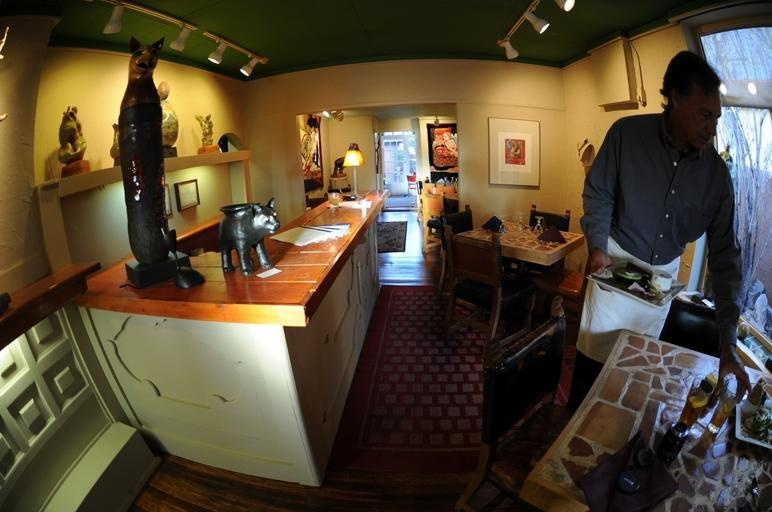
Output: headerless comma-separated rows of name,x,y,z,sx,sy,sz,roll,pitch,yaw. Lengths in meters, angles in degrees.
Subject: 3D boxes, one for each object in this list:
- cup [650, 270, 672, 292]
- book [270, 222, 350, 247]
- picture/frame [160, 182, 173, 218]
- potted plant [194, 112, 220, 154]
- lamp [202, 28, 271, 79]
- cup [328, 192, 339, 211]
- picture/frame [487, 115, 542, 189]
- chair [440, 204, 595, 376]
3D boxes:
cup,1.654,0.153,2.913,0.173,0.103,0.089,-6,14,-13
book,-0.561,-0.173,3.797,0.512,0.053,0.606,7,17,31
picture/frame,-2.261,-0.572,5.042,0.051,0.348,0.220,-6,14,-15
potted plant,-2.033,-1.378,5.517,0.218,0.421,0.593,-7,15,-19
lamp,-1.577,-2.029,4.996,0.255,0.320,0.917,21,9,21
cup,-0.506,-0.537,4.752,0.101,0.158,0.179,-4,14,-4
picture/frame,1.593,-1.341,6.098,0.841,1.038,0.035,-1,18,3
chair,1.125,0.319,4.282,0.933,1.474,0.875,-32,37,-33
